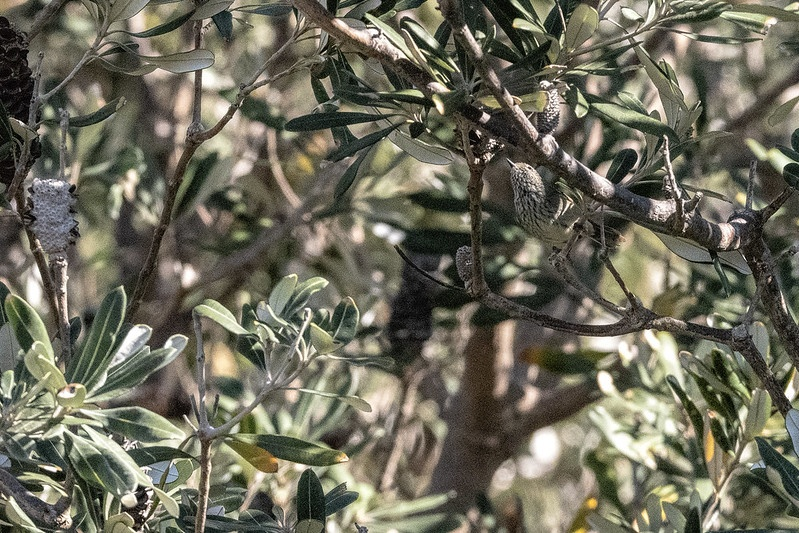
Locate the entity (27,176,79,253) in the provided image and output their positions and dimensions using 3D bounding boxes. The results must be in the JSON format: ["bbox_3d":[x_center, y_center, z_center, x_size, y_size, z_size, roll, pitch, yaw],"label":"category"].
[{"bbox_3d":[-0.547,-0.082,1.822,0.070,0.056,0.123,-7,83,1],"label":"entity"}]

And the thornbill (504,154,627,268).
[{"bbox_3d":[0.266,-0.099,1.913,0.092,0.226,0.163,-26,81,31],"label":"thornbill"}]
